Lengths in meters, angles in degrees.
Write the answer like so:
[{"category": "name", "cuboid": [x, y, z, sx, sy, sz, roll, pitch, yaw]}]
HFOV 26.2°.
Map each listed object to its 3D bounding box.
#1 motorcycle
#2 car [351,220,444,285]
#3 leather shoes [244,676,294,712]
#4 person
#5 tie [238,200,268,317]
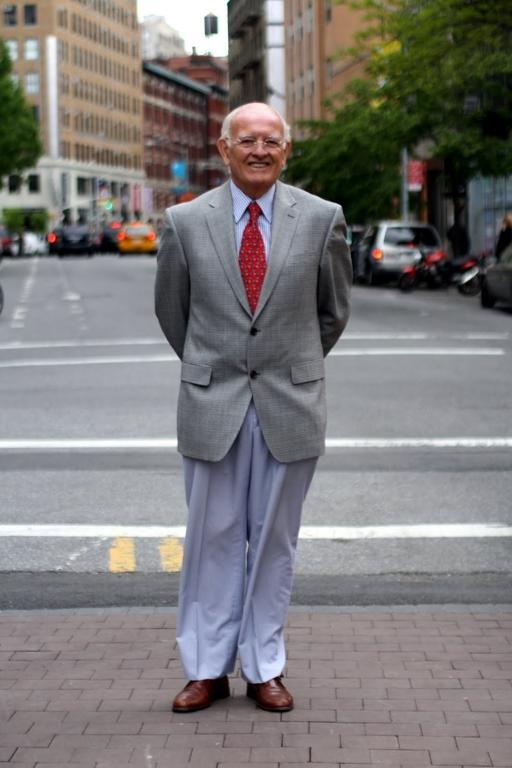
[{"category": "motorcycle", "cuboid": [4.403, -2.697, 26.137, 1.783, 0.988, 0.886, -1, 2, -7]}, {"category": "car", "cuboid": [3.660, -3.240, 28.987, 1.953, 1.656, 3.399, -1, 12, -2]}, {"category": "leather shoes", "cuboid": [0.043, 0.862, 3.048, 0.053, 0.060, 0.145, -1, -4, -24]}, {"category": "person", "cuboid": [0.008, 0.053, 3.103, 0.572, 1.679, 0.395, -2, 4, -5]}, {"category": "tie", "cuboid": [-0.011, -0.352, 3.049, 0.073, 0.306, 0.087, -1, 4, 0]}]
